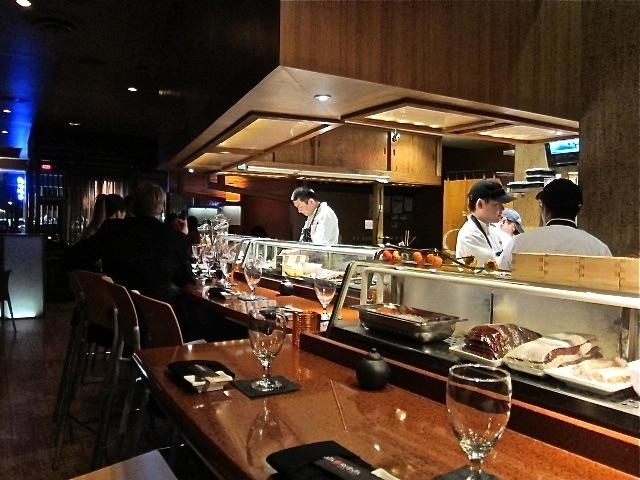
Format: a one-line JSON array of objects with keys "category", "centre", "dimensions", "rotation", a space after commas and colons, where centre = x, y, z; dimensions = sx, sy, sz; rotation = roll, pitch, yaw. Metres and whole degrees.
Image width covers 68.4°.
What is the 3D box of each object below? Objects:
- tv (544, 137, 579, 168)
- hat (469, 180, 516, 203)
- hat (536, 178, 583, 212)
[{"category": "tv", "centre": [2.120, -0.764, 4.093], "dimensions": [0.050, 0.320, 0.462], "rotation": [-15, 15, -24]}, {"category": "hat", "centre": [1.414, -0.392, 3.899], "dimensions": [0.281, 0.149, 0.195], "rotation": [-3, 10, 6]}, {"category": "hat", "centre": [1.374, -0.248, 2.656], "dimensions": [0.150, 0.104, 0.202], "rotation": [5, 13, 5]}]
